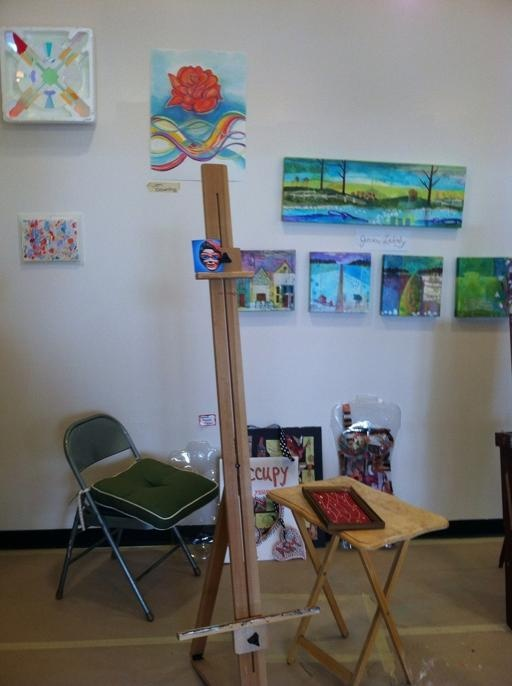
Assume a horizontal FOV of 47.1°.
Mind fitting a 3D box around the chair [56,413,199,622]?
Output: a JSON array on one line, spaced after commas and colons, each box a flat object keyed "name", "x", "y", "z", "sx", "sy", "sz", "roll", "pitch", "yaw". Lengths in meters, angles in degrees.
[{"name": "chair", "x": -0.631, "y": 0.802, "z": 2.922, "sx": 0.582, "sy": 0.886, "sz": 0.572, "roll": 1, "pitch": 8, "yaw": 13}]

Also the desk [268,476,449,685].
[{"name": "desk", "x": 0.388, "y": 0.916, "z": 2.460, "sx": 0.563, "sy": 0.850, "sz": 0.830, "roll": -2, "pitch": 4, "yaw": -29}]
